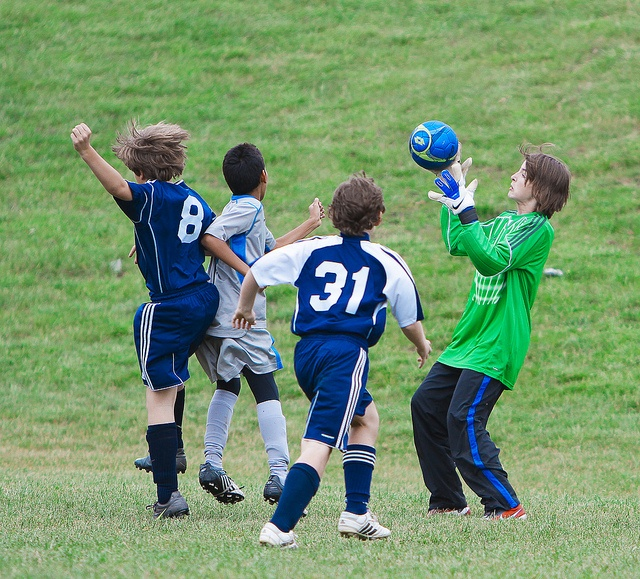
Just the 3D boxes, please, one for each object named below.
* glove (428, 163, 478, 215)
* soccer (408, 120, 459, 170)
[{"bbox_3d":[1.506,-1.074,16.336,0.564,0.563,0.201,49,7,-1],"label":"glove"},{"bbox_3d":[1.316,-1.588,16.834,0.436,0.600,0.461,0,12,2],"label":"soccer"}]
